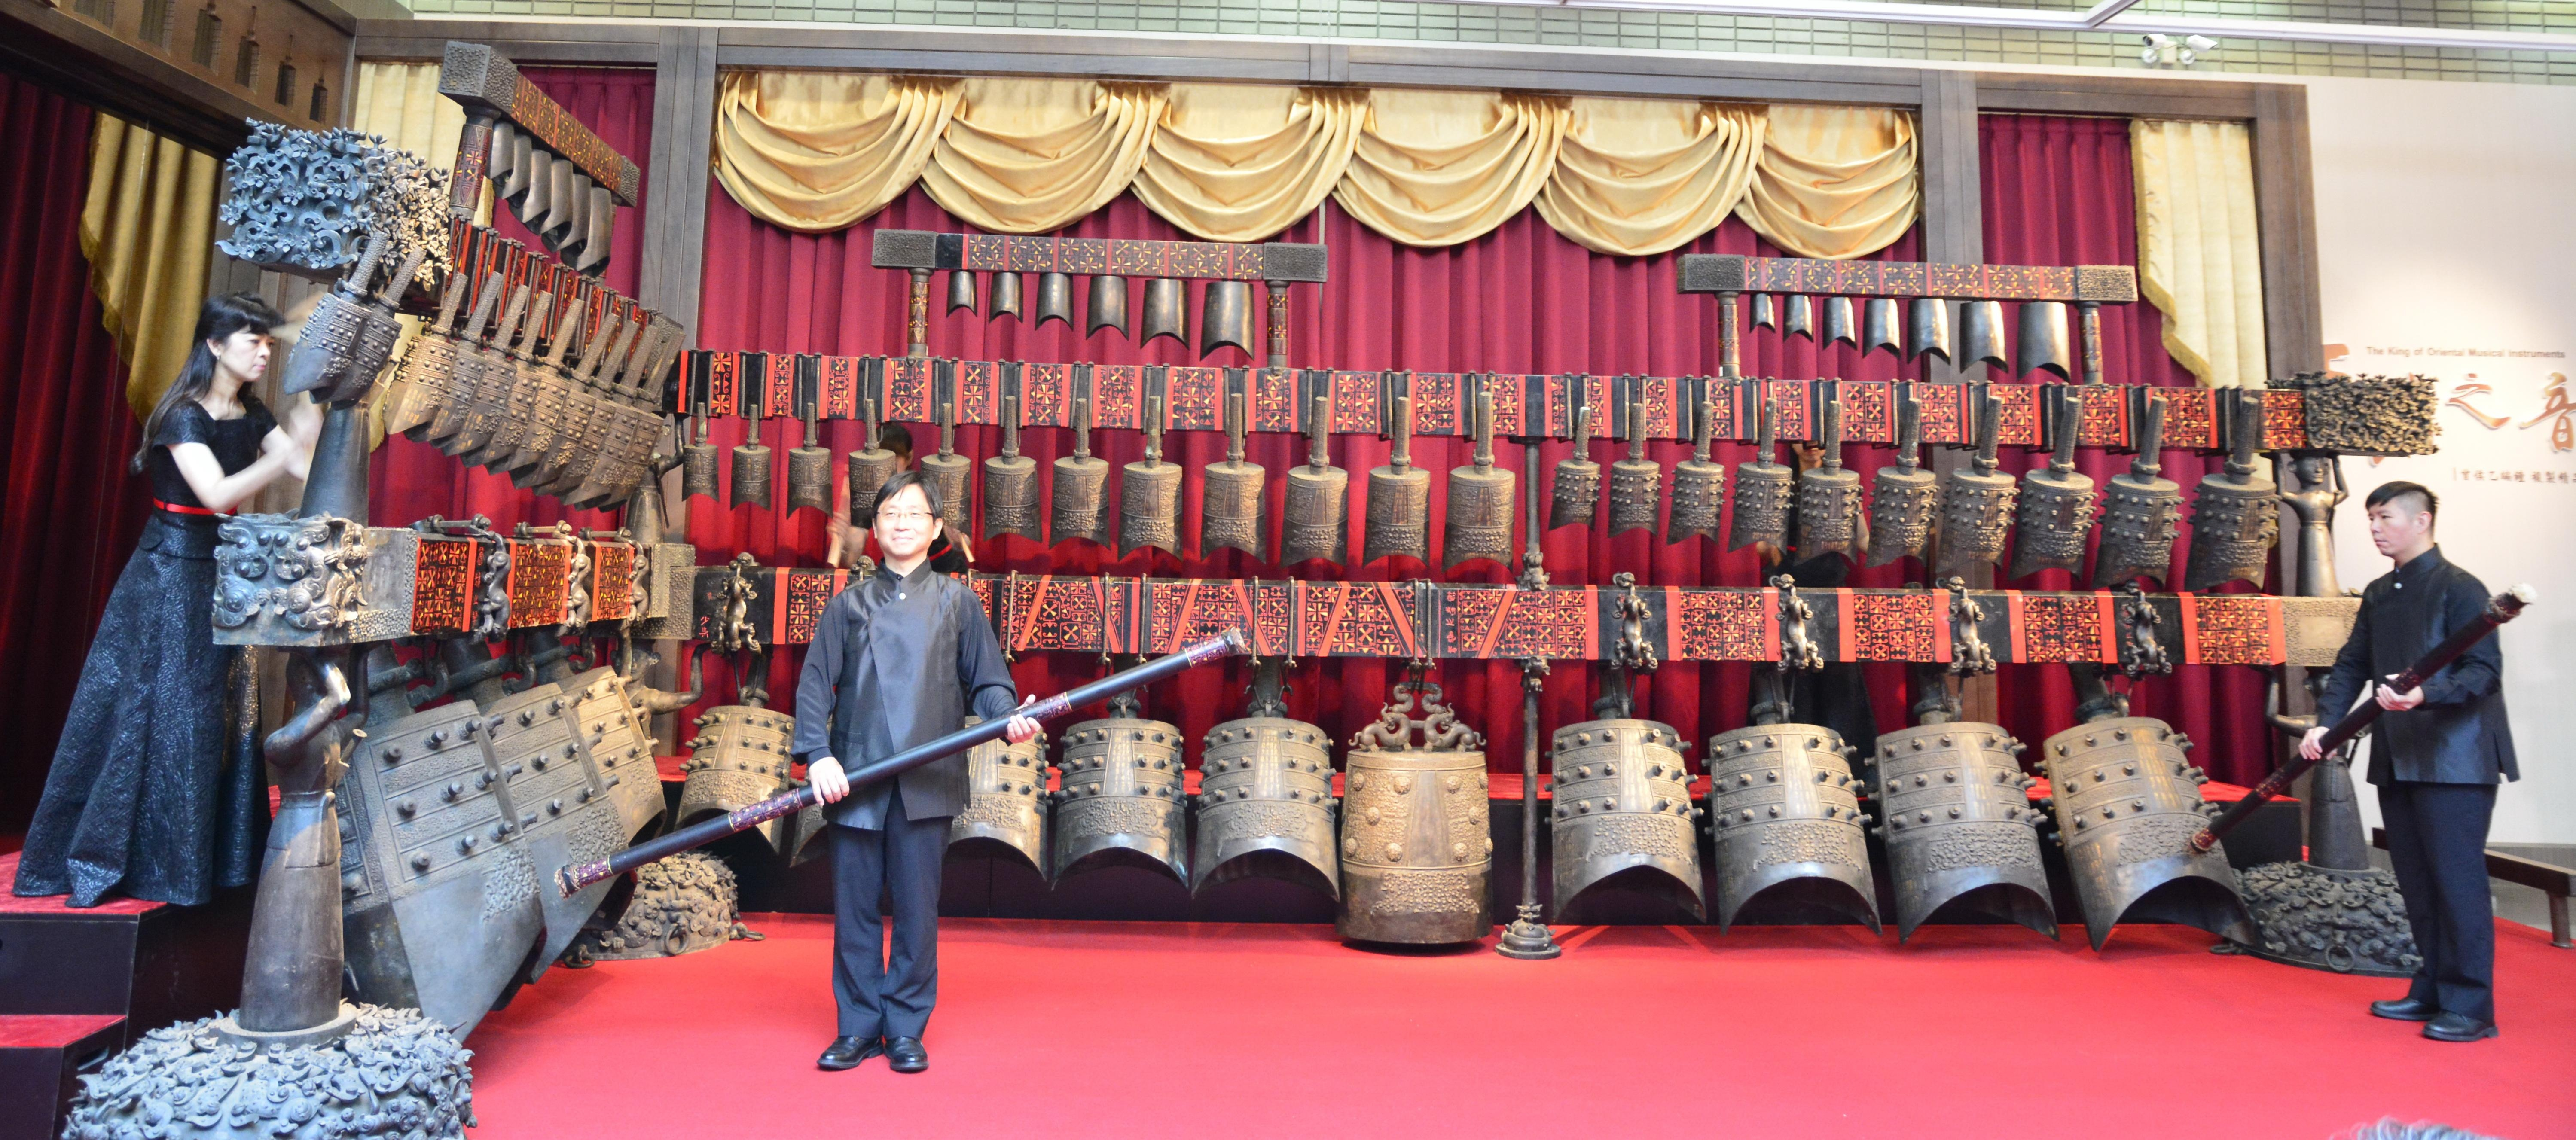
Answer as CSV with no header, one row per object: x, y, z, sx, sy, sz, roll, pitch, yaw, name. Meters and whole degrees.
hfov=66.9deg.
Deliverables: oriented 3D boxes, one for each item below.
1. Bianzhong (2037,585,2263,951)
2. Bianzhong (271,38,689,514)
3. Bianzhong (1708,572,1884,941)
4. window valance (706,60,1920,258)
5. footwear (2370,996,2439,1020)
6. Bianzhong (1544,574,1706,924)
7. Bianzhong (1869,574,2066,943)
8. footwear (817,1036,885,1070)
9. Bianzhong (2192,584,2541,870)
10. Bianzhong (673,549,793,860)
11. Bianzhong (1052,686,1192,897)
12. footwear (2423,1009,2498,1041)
5.399,1.279,12.194,1.116,2.562,1.056,4,-33,-8,Bianzhong
-4.923,-1.524,11.465,0.794,2.740,2.982,11,-4,12,Bianzhong
3.139,1.124,12.179,0.989,2.166,0.551,0,-7,7,Bianzhong
0.325,-2.731,13.183,8.222,0.998,0.289,1,10,-4,window valance
6.589,2.588,11.448,0.352,0.116,0.140,3,0,2,footwear
2.125,1.118,12.197,0.911,2.176,0.549,0,-7,9,Bianzhong
4.180,1.145,12.116,1.028,2.198,0.464,0,-7,7,Bianzhong
-2.495,2.732,11.098,0.369,0.149,0.174,-4,-1,-43,footwear
6.621,0.961,11.973,0.206,2.671,0.291,43,22,-14,Bianzhong
-3.546,0.797,12.371,0.902,1.588,0.705,4,-10,-25,Bianzhong
-1.017,1.260,12.455,0.937,1.288,0.981,10,-18,-38,Bianzhong
6.827,2.663,11.391,0.417,0.171,0.179,3,-14,-3,footwear
